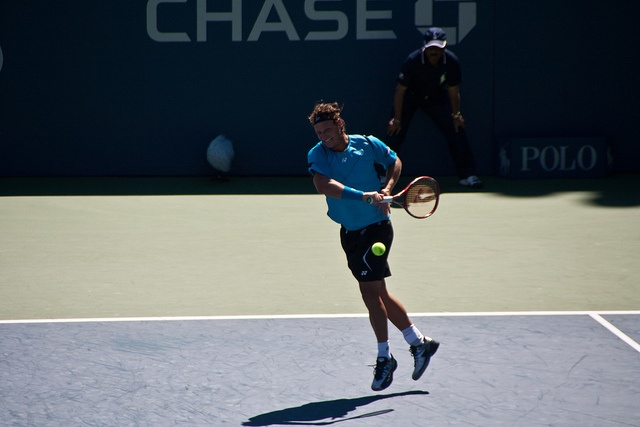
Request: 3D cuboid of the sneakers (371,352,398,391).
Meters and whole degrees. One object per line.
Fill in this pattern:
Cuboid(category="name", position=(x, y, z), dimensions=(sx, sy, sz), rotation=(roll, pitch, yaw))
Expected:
Cuboid(category="sneakers", position=(0.584, 1.400, 6.947), dimensions=(0.125, 0.174, 0.379), rotation=(1, 37, 26))

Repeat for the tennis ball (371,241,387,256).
Cuboid(category="tennis ball", position=(0.529, 0.334, 6.990), dimensions=(0.106, 0.111, 0.128), rotation=(-6, 34, 11))

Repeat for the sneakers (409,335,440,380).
Cuboid(category="sneakers", position=(0.930, 1.296, 7.068), dimensions=(0.200, 0.445, 0.150), rotation=(25, 5, -11))

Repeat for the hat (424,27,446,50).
Cuboid(category="hat", position=(1.976, -2.996, 13.341), dimensions=(0.354, 0.337, 0.319), rotation=(-2, 14, 2))

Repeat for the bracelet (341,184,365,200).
Cuboid(category="bracelet", position=(0.301, -0.185, 6.942), dimensions=(0.151, 0.066, 0.117), rotation=(12, 14, 19))

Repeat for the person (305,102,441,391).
Cuboid(category="person", position=(0.475, 0.237, 7.178), dimensions=(0.875, 2.470, 1.213), rotation=(-13, 17, -37))
